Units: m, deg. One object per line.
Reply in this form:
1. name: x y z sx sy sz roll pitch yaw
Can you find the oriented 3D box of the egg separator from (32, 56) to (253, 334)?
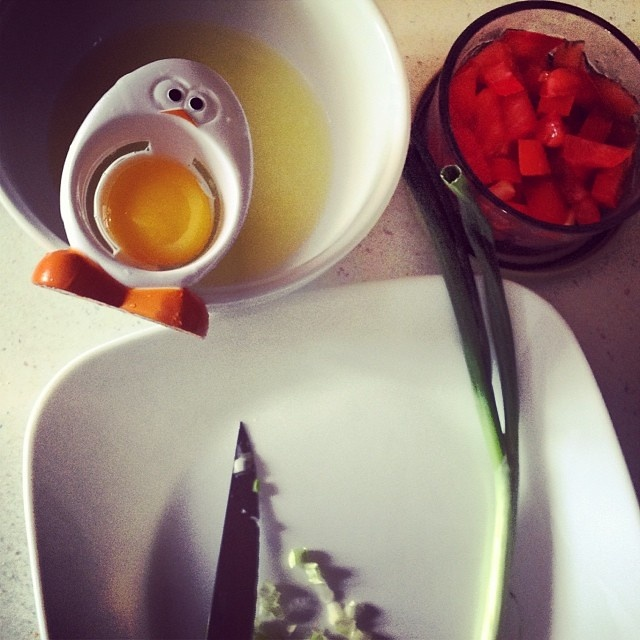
1. egg separator: -0.123 -0.089 0.587 0.182 0.076 0.180 20 94 -10
